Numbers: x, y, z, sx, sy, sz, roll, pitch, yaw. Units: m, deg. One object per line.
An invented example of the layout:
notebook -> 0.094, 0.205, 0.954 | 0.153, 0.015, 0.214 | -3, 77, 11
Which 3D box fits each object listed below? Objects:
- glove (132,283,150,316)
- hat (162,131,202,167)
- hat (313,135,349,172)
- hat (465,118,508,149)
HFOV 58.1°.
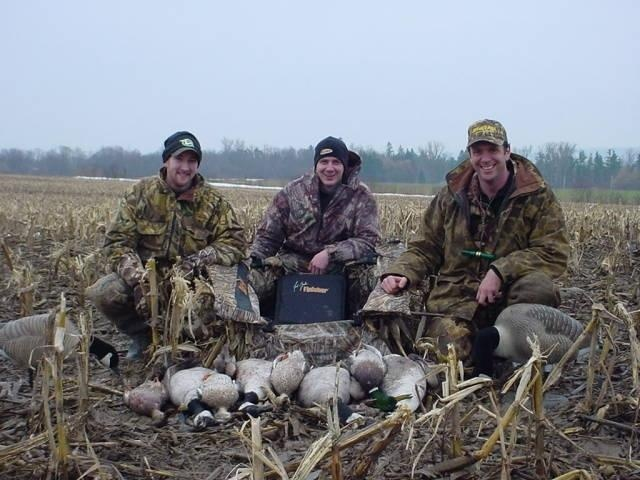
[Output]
glove -> -1.683, 0.566, 5.438 | 0.093, 0.272, 0.191 | -5, -4, -42
hat -> -1.449, -0.953, 6.011 | 0.385, 0.345, 0.294 | -4, 15, -16
hat -> 0.132, -1.033, 6.791 | 0.414, 0.362, 0.332 | 0, 14, 0
hat -> 1.595, -1.014, 5.514 | 0.361, 0.263, 0.206 | 4, 15, 14
